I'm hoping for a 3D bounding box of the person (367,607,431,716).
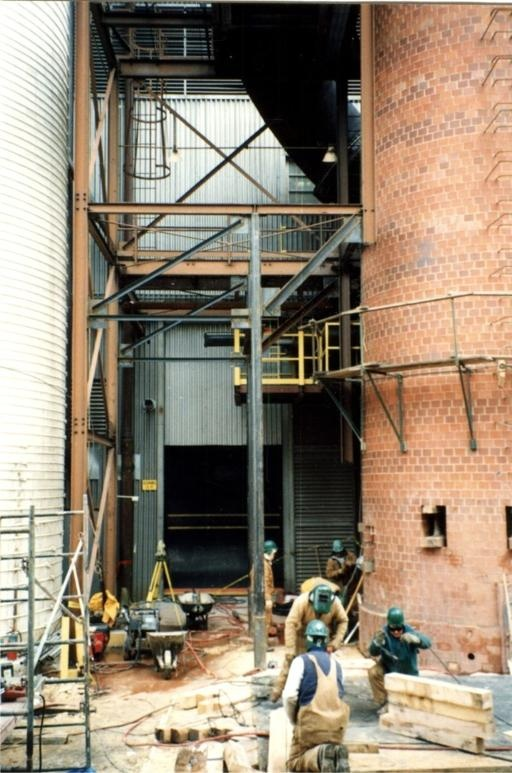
[{"bbox_3d":[1.788,3.544,11.571,0.664,1.363,1.092,1,-8,-11],"label":"person"}]

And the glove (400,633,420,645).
[{"bbox_3d":[1.933,3.180,11.239,0.158,0.068,0.135,15,-40,36],"label":"glove"}]

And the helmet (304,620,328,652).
[{"bbox_3d":[0.624,2.603,9.320,0.216,0.330,0.282,3,-6,-5],"label":"helmet"}]

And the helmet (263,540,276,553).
[{"bbox_3d":[0.257,2.977,16.490,0.205,0.117,0.187,-12,0,-5],"label":"helmet"}]

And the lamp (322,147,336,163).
[{"bbox_3d":[1.585,-5.063,19.637,0.346,0.437,0.398,0,4,8],"label":"lamp"}]

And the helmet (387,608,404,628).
[{"bbox_3d":[1.773,2.959,11.407,0.199,0.259,0.255,-1,-8,0],"label":"helmet"}]

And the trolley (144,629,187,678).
[{"bbox_3d":[-1.480,4.425,14.805,0.611,0.718,0.734,0,-9,-9],"label":"trolley"}]

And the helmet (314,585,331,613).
[{"bbox_3d":[0.815,2.616,10.919,0.201,0.296,0.292,2,-4,2],"label":"helmet"}]

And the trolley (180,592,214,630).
[{"bbox_3d":[-1.165,4.534,18.080,0.411,0.477,1.023,-1,-9,1],"label":"trolley"}]

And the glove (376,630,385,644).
[{"bbox_3d":[1.606,3.233,11.576,0.052,0.175,0.117,3,3,10],"label":"glove"}]

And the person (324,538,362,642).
[{"bbox_3d":[1.769,3.989,17.982,0.567,1.887,0.520,-4,15,4],"label":"person"}]
